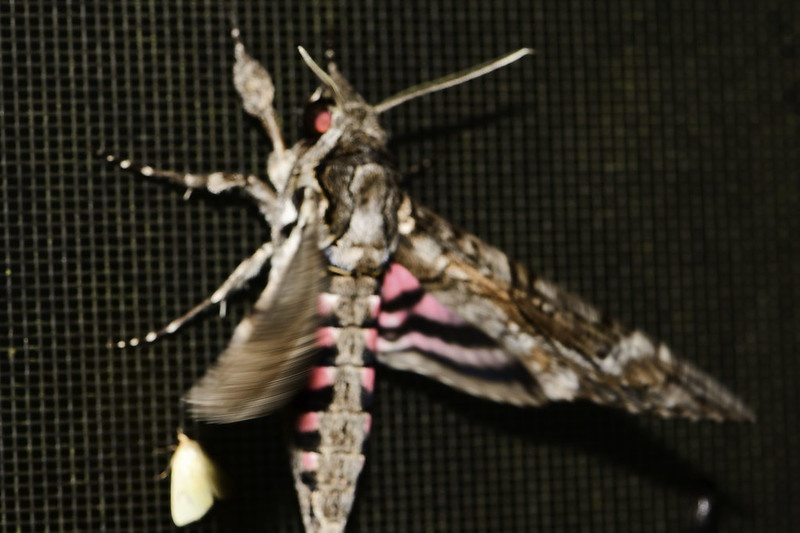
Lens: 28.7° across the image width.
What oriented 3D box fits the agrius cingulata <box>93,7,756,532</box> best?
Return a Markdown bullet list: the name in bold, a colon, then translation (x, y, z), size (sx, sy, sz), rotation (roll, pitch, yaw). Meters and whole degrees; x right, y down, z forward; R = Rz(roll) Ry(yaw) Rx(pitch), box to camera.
- **agrius cingulata**: translation (-0.078, -0.041, 4.475), size (1.671, 1.687, 1.212), rotation (0, 94, -12)
